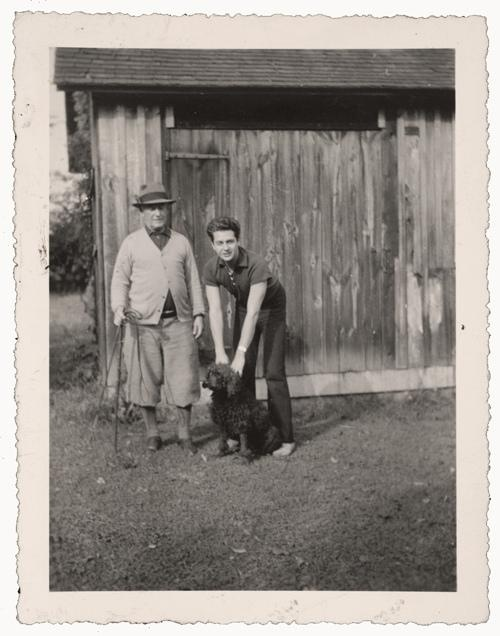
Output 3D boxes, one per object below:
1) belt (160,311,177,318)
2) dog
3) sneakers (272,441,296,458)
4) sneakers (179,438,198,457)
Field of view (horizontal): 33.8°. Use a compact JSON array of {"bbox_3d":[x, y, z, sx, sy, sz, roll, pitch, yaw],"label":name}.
[{"bbox_3d":[-0.651,-0.021,6.613,0.117,0.053,0.033,-1,3,-10],"label":"belt"},{"bbox_3d":[-0.089,0.670,6.521,0.628,0.989,0.445,-14,14,-28],"label":"dog"},{"bbox_3d":[0.252,1.076,6.659,0.088,0.047,0.153,32,46,28],"label":"sneakers"},{"bbox_3d":[-0.501,1.056,6.686,0.080,0.153,0.148,-28,39,-3],"label":"sneakers"}]
